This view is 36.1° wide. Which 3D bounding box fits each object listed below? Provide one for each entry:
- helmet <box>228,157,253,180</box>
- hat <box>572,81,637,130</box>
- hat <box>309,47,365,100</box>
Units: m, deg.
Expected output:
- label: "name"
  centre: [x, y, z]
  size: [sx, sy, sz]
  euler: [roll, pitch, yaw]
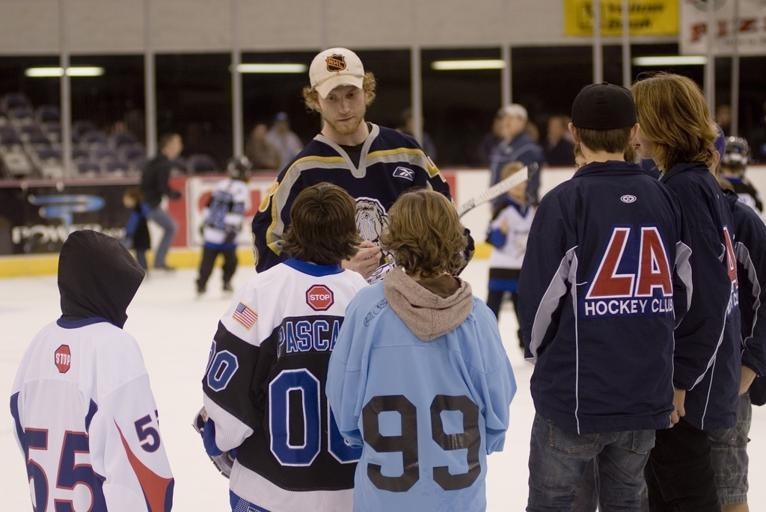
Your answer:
- label: "helmet"
  centre: [-1.715, -1.050, 14.276]
  size: [0.238, 0.280, 0.261]
  euler: [-4, 8, -16]
- label: "hat"
  centre: [1.389, -0.944, 7.420]
  size: [0.394, 0.312, 0.525]
  euler: [-1, 17, -8]
- label: "hat"
  centre: [-0.301, -1.267, 7.927]
  size: [0.373, 0.275, 0.531]
  euler: [-8, 15, -10]
